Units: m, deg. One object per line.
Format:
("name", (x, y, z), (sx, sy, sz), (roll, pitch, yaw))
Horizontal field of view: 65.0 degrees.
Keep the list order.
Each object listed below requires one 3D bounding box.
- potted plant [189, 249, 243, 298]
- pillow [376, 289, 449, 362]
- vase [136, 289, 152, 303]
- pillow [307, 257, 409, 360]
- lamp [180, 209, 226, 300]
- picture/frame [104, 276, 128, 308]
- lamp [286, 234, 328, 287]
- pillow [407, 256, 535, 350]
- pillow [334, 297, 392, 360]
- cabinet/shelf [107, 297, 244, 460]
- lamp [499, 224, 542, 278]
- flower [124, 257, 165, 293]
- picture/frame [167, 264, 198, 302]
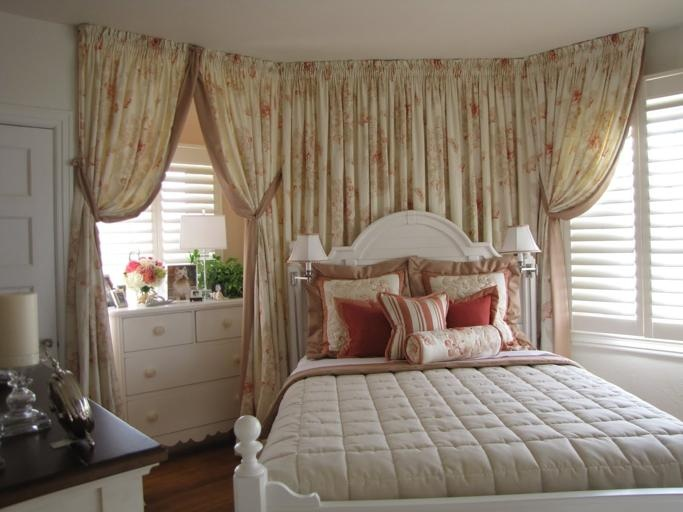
("potted plant", (-1.059, 0.153, 4.536), (0.385, 0.280, 0.398), (2, 12, -7))
("pillow", (0.531, 0.466, 3.600), (0.568, 0.449, 0.206), (0, -8, -29))
("vase", (-1.517, 0.307, 4.070), (0.083, 0.112, 0.030), (12, -13, 1))
("pillow", (0.014, 0.382, 3.859), (0.668, 0.679, 0.206), (-3, -14, 18))
("lamp", (-1.110, -0.038, 4.317), (0.340, 0.730, 0.242), (-2, 23, -17))
("picture/frame", (-1.697, 0.254, 4.002), (0.128, 0.244, 0.197), (-8, 13, -23))
("lamp", (-0.240, 0.020, 4.204), (0.344, 0.569, 0.355), (-2, 2, 7))
("pillow", (0.983, 0.304, 3.741), (0.722, 0.724, 0.199), (-2, -14, 7))
("pillow", (0.146, 0.497, 3.603), (0.342, 0.362, 0.140), (2, -6, 10))
("cabinet/shelf", (-1.232, 0.891, 4.266), (1.125, 1.084, 0.431), (-3, 6, -34))
("lamp", (1.408, 0.007, 4.197), (0.321, 0.505, 0.311), (-6, -6, 27))
("flower", (-1.516, 0.144, 4.164), (0.270, 0.275, 0.289), (10, 31, -15))
("picture/frame", (-1.283, 0.220, 4.246), (0.273, 0.379, 0.047), (-1, -2, -23))
